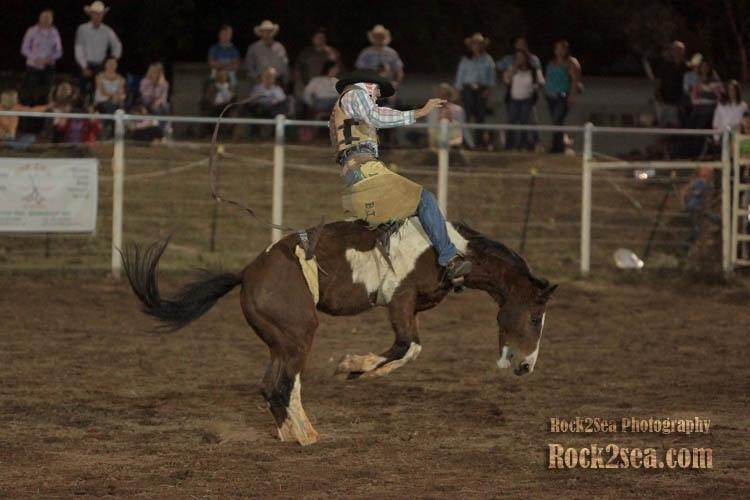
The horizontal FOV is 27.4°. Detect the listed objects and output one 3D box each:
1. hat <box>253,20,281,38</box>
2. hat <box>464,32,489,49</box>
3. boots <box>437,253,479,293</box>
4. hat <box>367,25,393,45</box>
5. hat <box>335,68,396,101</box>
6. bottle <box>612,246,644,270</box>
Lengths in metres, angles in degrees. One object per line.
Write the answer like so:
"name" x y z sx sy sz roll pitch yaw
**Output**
"hat" -1.794 -3.787 26.033 0.299 0.282 0.397 -1 8 -26
"hat" 1.775 -3.589 26.033 0.498 0.162 0.510 3 -22 3
"boots" 1.122 0.357 20.172 0.337 0.251 0.647 -34 16 39
"hat" 0.114 -3.771 26.548 0.543 0.185 0.622 1 2 -3
"hat" -0.091 -2.221 20.078 0.521 0.142 0.484 2 -28 7
"bottle" 4.188 0.143 25.066 0.210 0.273 0.471 10 9 -36
